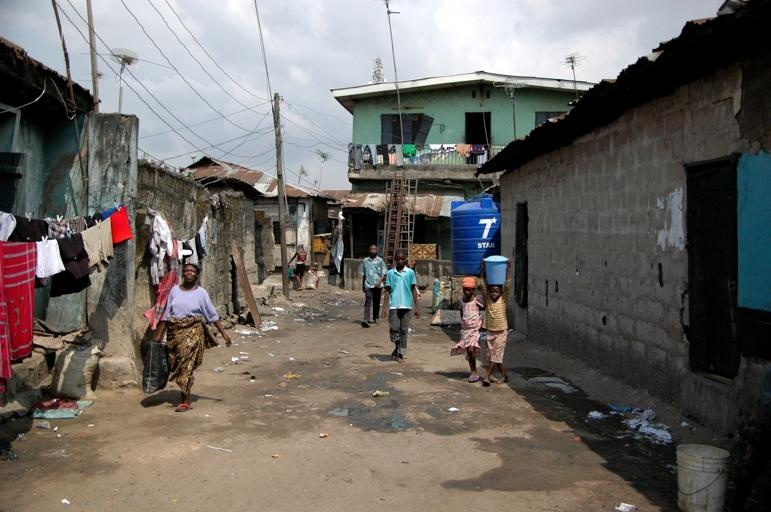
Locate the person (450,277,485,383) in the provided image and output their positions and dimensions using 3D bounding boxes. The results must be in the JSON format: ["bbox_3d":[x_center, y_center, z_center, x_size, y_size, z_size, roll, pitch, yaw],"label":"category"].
[{"bbox_3d":[1.338,1.130,10.052,0.476,1.680,1.072,1,6,7],"label":"person"}]

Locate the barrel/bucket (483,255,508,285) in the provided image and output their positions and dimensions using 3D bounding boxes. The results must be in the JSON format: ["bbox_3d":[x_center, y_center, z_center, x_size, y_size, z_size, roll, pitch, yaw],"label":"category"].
[{"bbox_3d":[1.865,0.234,10.488,0.437,0.439,0.440,0,-11,0],"label":"barrel/bucket"}]

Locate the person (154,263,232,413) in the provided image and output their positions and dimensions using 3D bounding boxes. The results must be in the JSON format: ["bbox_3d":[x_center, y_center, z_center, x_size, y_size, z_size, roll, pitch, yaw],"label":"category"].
[{"bbox_3d":[-2.714,1.068,8.499,0.788,1.935,0.883,-3,7,-29],"label":"person"}]

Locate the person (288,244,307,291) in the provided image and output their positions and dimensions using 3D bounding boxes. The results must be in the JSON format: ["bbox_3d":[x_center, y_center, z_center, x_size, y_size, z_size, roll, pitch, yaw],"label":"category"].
[{"bbox_3d":[-3.336,0.398,23.779,0.423,1.655,1.263,-1,6,-11],"label":"person"}]
